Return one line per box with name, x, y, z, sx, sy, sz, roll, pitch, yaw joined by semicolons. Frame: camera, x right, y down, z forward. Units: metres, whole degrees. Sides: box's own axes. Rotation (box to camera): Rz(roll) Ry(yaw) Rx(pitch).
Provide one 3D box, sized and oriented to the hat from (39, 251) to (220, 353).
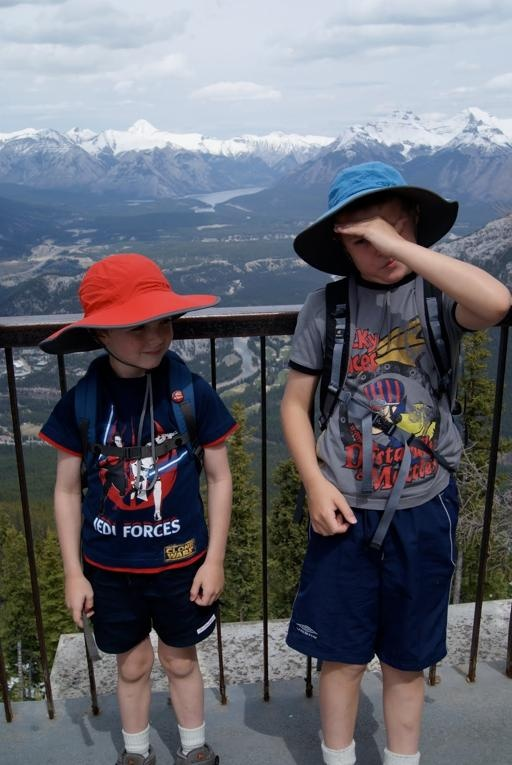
hat;-0.423;-0.222;2.093;0.411;0.348;0.570;-18;22;-38
